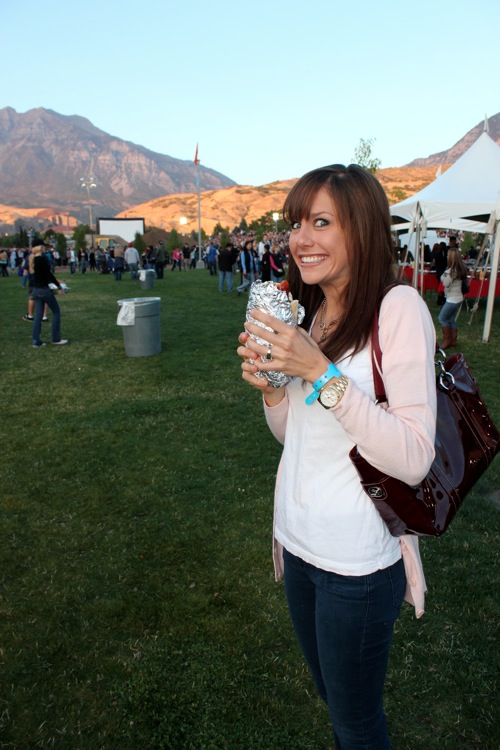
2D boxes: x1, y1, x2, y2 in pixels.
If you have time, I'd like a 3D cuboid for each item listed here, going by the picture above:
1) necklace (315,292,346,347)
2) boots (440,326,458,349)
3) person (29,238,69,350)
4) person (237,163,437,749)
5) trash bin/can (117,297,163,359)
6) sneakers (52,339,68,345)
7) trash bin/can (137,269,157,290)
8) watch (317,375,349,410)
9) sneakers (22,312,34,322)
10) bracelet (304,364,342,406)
[{"bbox_3d":[0.212,-0.147,1.475,0.041,0.136,0.096,5,18,-29],"label":"necklace"},{"bbox_3d":[3.799,-0.674,10.052,0.383,0.464,0.399,2,11,13],"label":"boots"},{"bbox_3d":[-4.038,-1.544,10.453,0.677,2.047,0.589,-2,0,9],"label":"person"},{"bbox_3d":[0.204,0.235,1.314,0.423,1.437,0.568,-9,16,-29],"label":"person"},{"bbox_3d":[-1.987,-0.786,9.359,0.724,1.071,0.628,-5,14,-15],"label":"trash bin/can"},{"bbox_3d":[-3.937,-0.621,10.792,0.288,0.133,0.105,-2,19,-7],"label":"sneakers"},{"bbox_3d":[-4.272,-3.767,21.508,0.568,0.767,0.758,-6,14,-17],"label":"trash bin/can"},{"bbox_3d":[0.169,0.037,1.113,0.045,0.074,0.072,32,16,15],"label":"watch"},{"bbox_3d":[-5.591,-1.350,13.050,0.196,0.229,0.527,1,14,-23],"label":"sneakers"},{"bbox_3d":[0.155,0.022,1.097,0.040,0.063,0.066,44,45,6],"label":"bracelet"}]
